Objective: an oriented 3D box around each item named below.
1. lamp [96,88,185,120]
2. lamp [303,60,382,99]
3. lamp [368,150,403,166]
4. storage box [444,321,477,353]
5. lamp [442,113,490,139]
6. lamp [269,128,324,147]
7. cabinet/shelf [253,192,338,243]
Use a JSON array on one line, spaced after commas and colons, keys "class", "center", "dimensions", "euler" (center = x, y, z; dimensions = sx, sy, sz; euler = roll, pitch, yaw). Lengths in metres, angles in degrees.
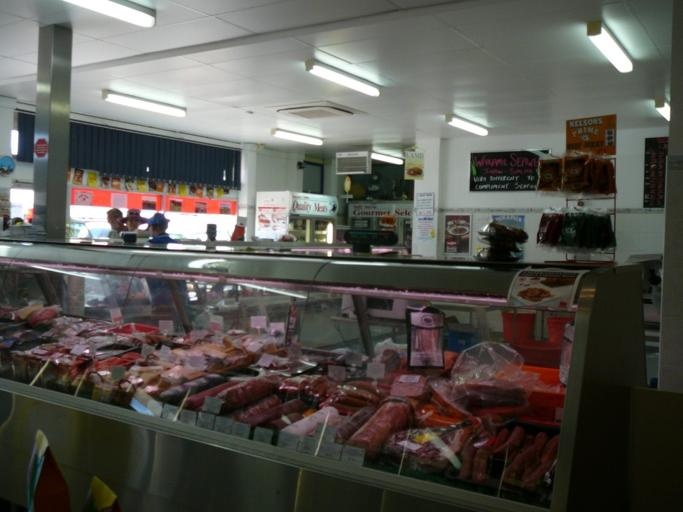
[{"class": "lamp", "center": [-3.091, -2.307, 7.810], "dimensions": [1.031, 0.061, 0.156], "euler": [5, -33, -39]}, {"class": "lamp", "center": [-0.003, -2.208, 6.244], "dimensions": [0.144, 0.107, 1.075], "euler": [-23, -18, 39]}, {"class": "lamp", "center": [1.205, -2.395, 12.225], "dimensions": [0.596, 0.266, 2.238], "euler": [-1, 6, 11]}, {"class": "storage box", "center": [0.518, 0.341, 2.151], "dimensions": [0.150, 0.124, 0.099], "euler": [9, 18, 38]}, {"class": "lamp", "center": [2.152, -2.246, 8.637], "dimensions": [1.055, 0.101, 0.144], "euler": [-3, -6, -42]}, {"class": "lamp", "center": [-0.846, -2.478, 10.556], "dimensions": [0.927, 0.220, 1.994], "euler": [-1, 6, 2]}, {"class": "cabinet/shelf", "center": [-0.964, -0.882, 12.179], "dimensions": [1.049, 1.129, 1.846], "euler": [3, 4, 33]}]
